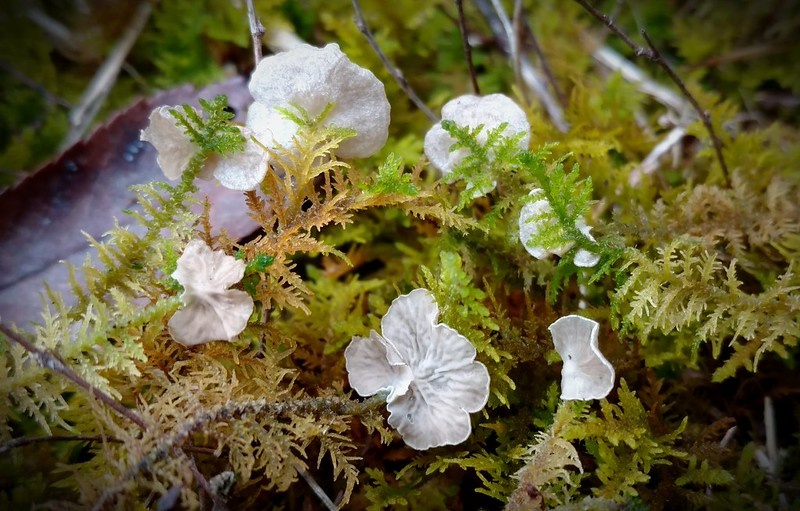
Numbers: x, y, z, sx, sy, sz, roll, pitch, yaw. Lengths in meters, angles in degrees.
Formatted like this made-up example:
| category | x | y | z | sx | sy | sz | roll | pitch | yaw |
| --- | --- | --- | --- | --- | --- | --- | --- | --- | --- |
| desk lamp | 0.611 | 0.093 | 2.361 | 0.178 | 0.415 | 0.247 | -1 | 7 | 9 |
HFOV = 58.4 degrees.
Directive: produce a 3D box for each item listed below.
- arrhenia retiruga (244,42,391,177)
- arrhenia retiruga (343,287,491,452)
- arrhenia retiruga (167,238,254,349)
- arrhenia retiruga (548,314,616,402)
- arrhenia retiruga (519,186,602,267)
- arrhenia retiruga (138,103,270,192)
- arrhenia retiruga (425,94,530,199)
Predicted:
| category | x | y | z | sx | sy | sz | roll | pitch | yaw |
| --- | --- | --- | --- | --- | --- | --- | --- | --- | --- |
| arrhenia retiruga | -0.207 | -0.385 | 1.794 | 0.351 | 0.146 | 0.258 | -6 | 73 | 3 |
| arrhenia retiruga | 0.030 | 0.254 | 1.642 | 0.298 | 0.346 | 0.132 | -7 | 97 | -29 |
| arrhenia retiruga | -0.432 | 0.086 | 1.575 | 0.212 | 0.065 | 0.226 | 5 | 86 | -2 |
| arrhenia retiruga | 0.440 | 0.234 | 1.700 | 0.177 | 0.080 | 0.193 | -38 | 61 | 38 |
| arrhenia retiruga | 0.394 | -0.043 | 1.783 | 0.224 | 0.168 | 0.139 | 27 | 77 | 12 |
| arrhenia retiruga | -0.467 | -0.272 | 1.715 | 0.300 | 0.136 | 0.170 | 8 | 74 | 7 |
| arrhenia retiruga | 0.198 | -0.308 | 1.822 | 0.243 | 0.129 | 0.278 | 28 | 77 | 12 |
